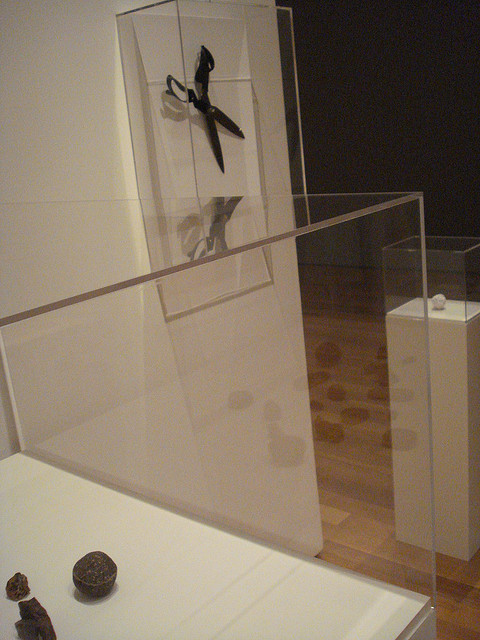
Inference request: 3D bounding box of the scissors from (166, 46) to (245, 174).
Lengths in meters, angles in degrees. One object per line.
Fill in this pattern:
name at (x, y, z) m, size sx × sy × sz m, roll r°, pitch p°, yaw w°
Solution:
scissors at (-0.083, -0.630, 1.587) m, size 0.323 × 0.188 × 0.095 m, roll 51°, pitch -33°, yaw -16°
